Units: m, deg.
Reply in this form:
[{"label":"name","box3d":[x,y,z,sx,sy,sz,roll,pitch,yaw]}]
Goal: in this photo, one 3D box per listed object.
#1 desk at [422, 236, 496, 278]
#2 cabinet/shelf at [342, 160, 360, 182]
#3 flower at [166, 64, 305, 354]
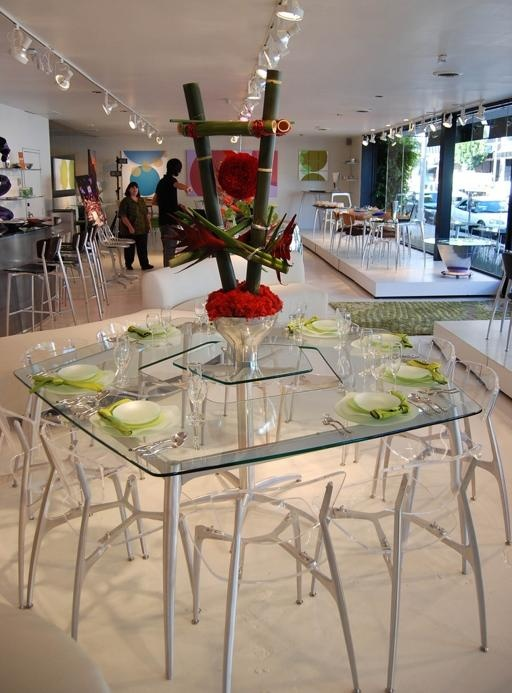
[{"label":"desk","box3d":[3.112,-1.377,7.950,0.959,0.445,0.939,10,27,26]},{"label":"cabinet/shelf","box3d":[2.858,-5.419,15.953,0.404,0.703,1.081,0,13,5]},{"label":"flower","box3d":[-0.068,-0.396,1.745,0.426,0.889,0.264,5,23,13]}]
